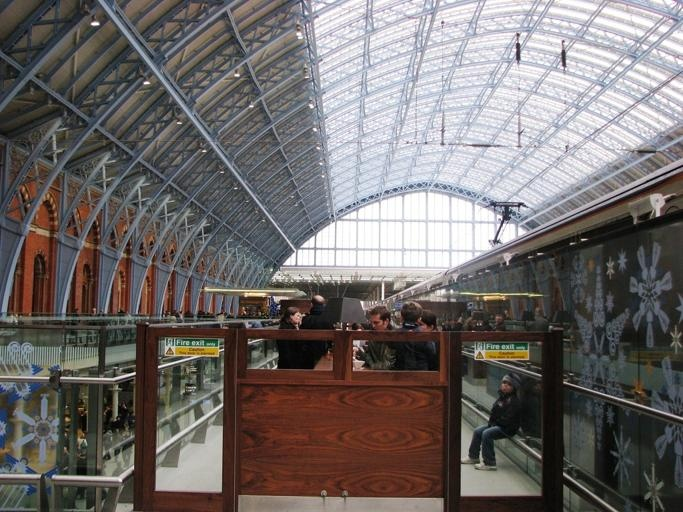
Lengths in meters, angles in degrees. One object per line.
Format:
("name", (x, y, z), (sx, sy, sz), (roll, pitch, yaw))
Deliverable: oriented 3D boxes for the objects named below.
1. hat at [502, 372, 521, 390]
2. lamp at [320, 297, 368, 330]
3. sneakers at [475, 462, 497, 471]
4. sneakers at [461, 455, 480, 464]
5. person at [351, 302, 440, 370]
("hat", (1.776, 1.327, 5.617), (0.182, 0.109, 0.141), (21, -9, 13))
("lamp", (0.017, 0.740, 6.625), (0.405, 0.562, 0.425), (-3, -3, 18))
("sneakers", (1.453, 2.182, 5.465), (0.251, 0.096, 0.091), (6, -14, 1))
("sneakers", (1.295, 2.100, 5.444), (0.194, 0.081, 0.070), (7, -11, 1))
("person", (0.527, 1.036, 5.742), (1.101, 0.975, 0.562), (0, -2, 1))
